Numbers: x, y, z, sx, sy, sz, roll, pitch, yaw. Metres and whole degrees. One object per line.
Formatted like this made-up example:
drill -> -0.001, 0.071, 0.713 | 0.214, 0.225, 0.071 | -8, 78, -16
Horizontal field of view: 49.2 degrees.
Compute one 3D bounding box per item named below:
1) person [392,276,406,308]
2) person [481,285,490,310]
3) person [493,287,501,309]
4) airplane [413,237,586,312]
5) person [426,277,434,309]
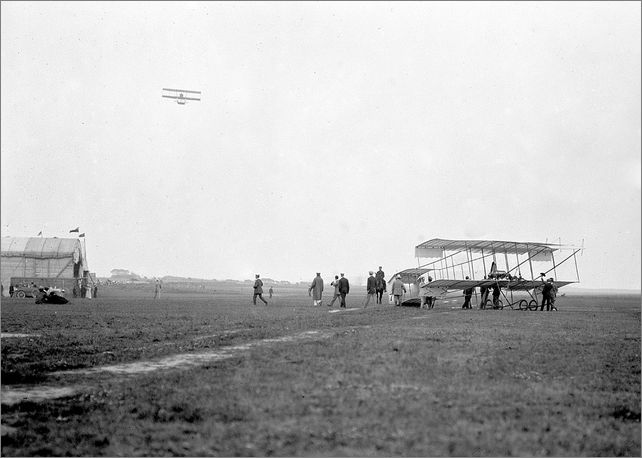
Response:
person -> 5.067, 4.076, 45.657 | 0.754, 1.706, 2.552 | -1, 1, 6
person -> 11.033, 4.470, 46.949 | 0.546, 1.285, 3.291 | -1, 1, 13
person -> 11.393, 4.391, 45.232 | 0.399, 1.266, 0.872 | -1, 0, 18
airplane -> 12.022, 3.262, 47.475 | 9.689, 4.284, 11.740 | -1, 1, 15
person -> 6.922, 4.024, 44.372 | 0.520, 1.804, 1.217 | -1, 0, 9
